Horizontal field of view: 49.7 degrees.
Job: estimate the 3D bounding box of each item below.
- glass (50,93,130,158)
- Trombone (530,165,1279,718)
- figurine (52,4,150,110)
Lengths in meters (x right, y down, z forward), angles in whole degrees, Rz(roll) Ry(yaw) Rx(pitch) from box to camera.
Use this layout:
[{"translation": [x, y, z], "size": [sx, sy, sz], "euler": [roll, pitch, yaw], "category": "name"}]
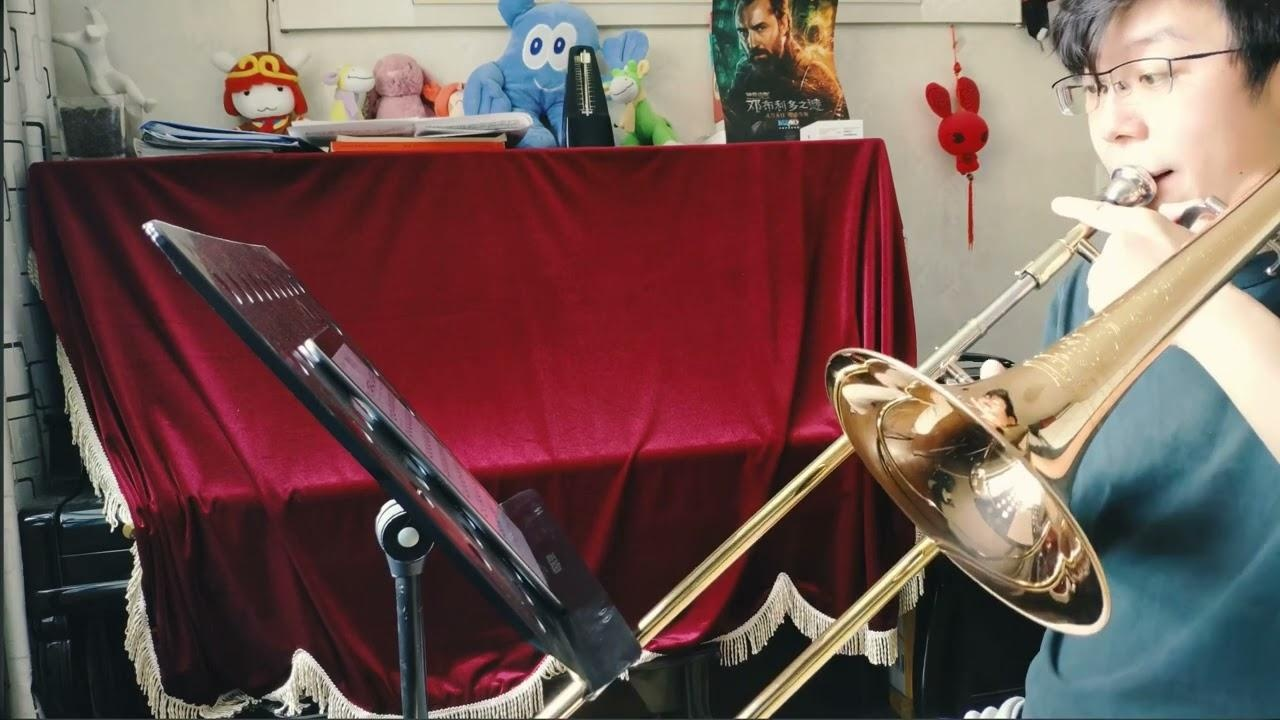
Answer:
[{"translation": [-1.468, -0.625, 3.702], "size": [0.152, 0.185, 0.159], "euler": [-1, 10, -1], "category": "glass"}, {"translation": [0.599, 0.246, 3.388], "size": [1.599, 0.457, 0.434], "euler": [-39, 43, -13], "category": "Trombone"}, {"translation": [-1.500, -0.826, 3.822], "size": [0.221, 0.289, 0.316], "euler": [-12, 15, -29], "category": "figurine"}]
